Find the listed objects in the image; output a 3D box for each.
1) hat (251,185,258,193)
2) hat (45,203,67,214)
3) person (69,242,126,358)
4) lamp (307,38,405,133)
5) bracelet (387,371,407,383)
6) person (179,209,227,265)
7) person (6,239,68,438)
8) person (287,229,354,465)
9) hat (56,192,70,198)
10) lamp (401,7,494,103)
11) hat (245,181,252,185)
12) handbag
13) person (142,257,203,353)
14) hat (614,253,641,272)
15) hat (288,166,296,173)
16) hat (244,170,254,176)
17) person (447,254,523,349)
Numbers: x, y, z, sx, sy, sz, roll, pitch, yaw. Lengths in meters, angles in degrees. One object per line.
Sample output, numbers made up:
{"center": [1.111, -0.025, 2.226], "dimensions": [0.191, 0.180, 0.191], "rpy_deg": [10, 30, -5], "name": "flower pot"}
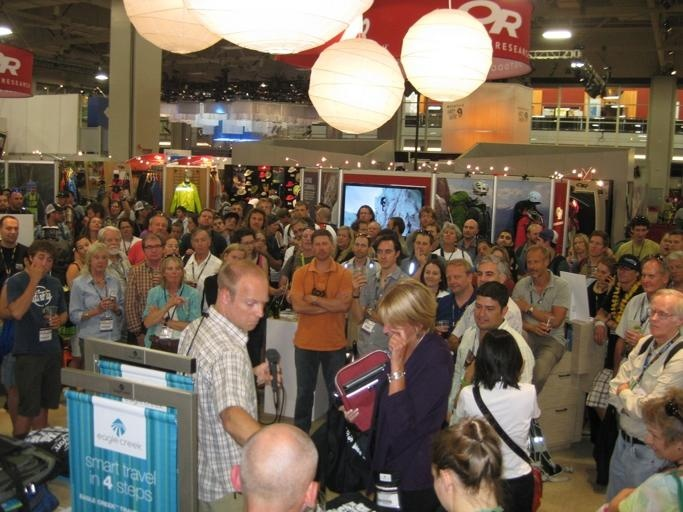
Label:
{"center": [-2.060, -1.568, 14.101], "dimensions": [0.255, 0.236, 0.065], "rpy_deg": [4, 5, 26], "name": "hat"}
{"center": [-4.794, -0.795, 10.047], "dimensions": [0.415, 0.180, 0.270], "rpy_deg": [-9, 14, -29], "name": "hat"}
{"center": [-2.367, 0.469, 5.780], "dimensions": [0.480, 1.186, 0.800], "rpy_deg": [0, 4, -21], "name": "person"}
{"center": [0.080, -1.170, 4.341], "dimensions": [0.587, 0.654, 0.647], "rpy_deg": [7, 5, -2], "name": "lamp"}
{"center": [0.266, 0.594, 2.987], "dimensions": [0.070, 0.053, 0.076], "rpy_deg": [0, -7, 12], "name": "bracelet"}
{"center": [-1.784, -0.191, 7.749], "dimensions": [0.518, 0.821, 0.420], "rpy_deg": [2, -11, -15], "name": "person"}
{"center": [-2.695, 0.738, 5.213], "dimensions": [0.521, 1.739, 0.459], "rpy_deg": [0, 4, -24], "name": "person"}
{"center": [-0.198, 0.740, 5.504], "dimensions": [0.503, 1.993, 0.455], "rpy_deg": [0, 17, -1], "name": "person"}
{"center": [-5.088, -1.108, 10.971], "dimensions": [0.155, 0.076, 0.223], "rpy_deg": [1, 5, -2], "name": "hat"}
{"center": [0.786, -1.484, 4.527], "dimensions": [0.618, 0.734, 0.653], "rpy_deg": [0, 21, 10], "name": "lamp"}
{"center": [-2.217, -1.710, 14.171], "dimensions": [0.152, 0.096, 0.032], "rpy_deg": [3, 4, 15], "name": "hat"}
{"center": [0.113, 0.703, 3.126], "dimensions": [0.360, 0.402, 0.088], "rpy_deg": [-31, 23, -28], "name": "handbag"}
{"center": [-1.625, 0.742, 5.631], "dimensions": [0.432, 1.405, 0.394], "rpy_deg": [4, 19, -17], "name": "person"}
{"center": [2.739, 0.058, 5.665], "dimensions": [0.204, 0.114, 0.145], "rpy_deg": [29, -16, -34], "name": "hat"}
{"center": [-1.135, -1.988, 13.903], "dimensions": [0.273, 0.123, 0.061], "rpy_deg": [5, 5, 35], "name": "hat"}
{"center": [-2.207, -1.955, 14.174], "dimensions": [0.083, 0.175, 0.282], "rpy_deg": [-2, 6, -45], "name": "hat"}
{"center": [1.178, 0.425, 4.969], "dimensions": [0.527, 0.896, 0.492], "rpy_deg": [6, 27, 15], "name": "person"}
